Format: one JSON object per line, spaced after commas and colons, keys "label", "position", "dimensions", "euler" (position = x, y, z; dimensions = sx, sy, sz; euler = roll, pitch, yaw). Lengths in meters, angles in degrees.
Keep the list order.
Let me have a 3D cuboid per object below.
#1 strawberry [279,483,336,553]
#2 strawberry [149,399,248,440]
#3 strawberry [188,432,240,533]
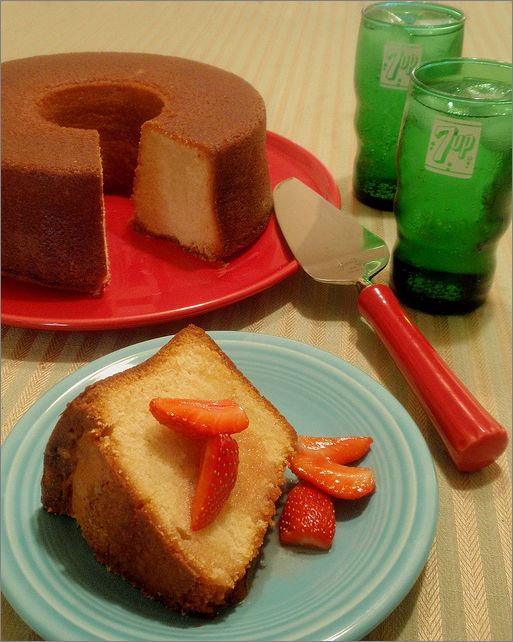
{"label": "strawberry", "position": [0.059, 0.222, 0.761], "dimensions": [0.069, 0.027, 0.084], "euler": [-7, 37, 7]}
{"label": "strawberry", "position": [-0.063, 0.107, 0.735], "dimensions": [0.088, 0.052, 0.028], "euler": [9, 75, -14]}
{"label": "strawberry", "position": [-0.048, 0.173, 0.707], "dimensions": [0.024, 0.057, 0.095], "euler": [4, 75, 50]}
